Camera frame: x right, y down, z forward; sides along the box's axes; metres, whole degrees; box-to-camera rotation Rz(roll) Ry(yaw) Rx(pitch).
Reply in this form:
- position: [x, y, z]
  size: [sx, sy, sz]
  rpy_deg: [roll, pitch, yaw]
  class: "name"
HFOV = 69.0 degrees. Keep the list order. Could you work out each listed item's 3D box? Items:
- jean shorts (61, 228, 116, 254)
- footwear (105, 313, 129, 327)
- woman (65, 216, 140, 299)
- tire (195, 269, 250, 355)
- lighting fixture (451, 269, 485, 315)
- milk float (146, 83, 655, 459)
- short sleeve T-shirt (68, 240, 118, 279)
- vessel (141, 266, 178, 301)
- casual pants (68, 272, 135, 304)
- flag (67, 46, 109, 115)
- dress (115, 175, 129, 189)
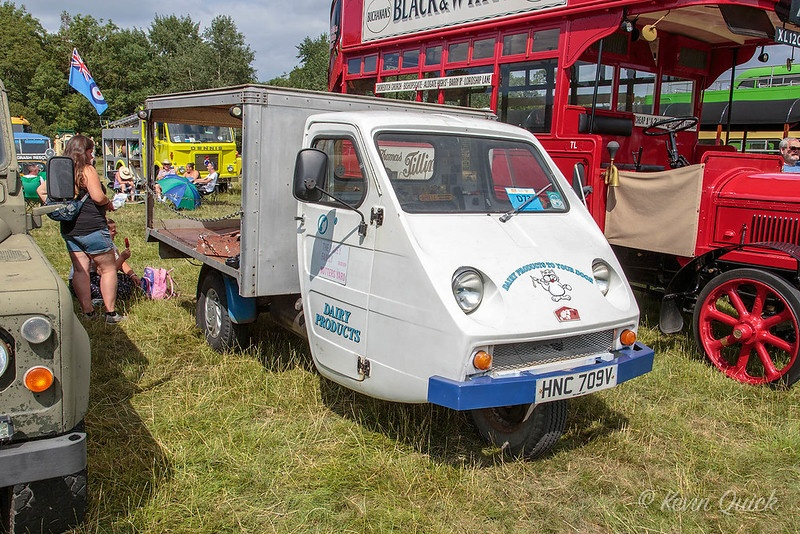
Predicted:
- position: [-4.037, -0.400, 7.579]
  size: [0.467, 0.363, 0.336]
  rpy_deg: [-4, 14, -17]
  class: "jean shorts"
- position: [-3.802, 0.713, 7.788]
  size: [0.111, 0.133, 0.290]
  rpy_deg: [7, 9, 36]
  class: "footwear"
- position: [-4.460, -0.168, 8.917]
  size: [0.877, 1.249, 0.851]
  rpy_deg: [7, 0, -1]
  class: "woman"
- position: [-2.090, 0.545, 6.936]
  size: [0.329, 1.007, 0.933]
  rpy_deg: [3, 0, -37]
  class: "tire"
- position: [0.556, 0.185, 4.708]
  size: [0.311, 0.348, 0.125]
  rpy_deg: [16, -23, -1]
  class: "lighting fixture"
- position: [-0.153, -0.182, 6.478]
  size: [2.812, 2.964, 5.209]
  rpy_deg: [-4, 10, -37]
  class: "milk float"
- position: [-4.065, -0.099, 7.706]
  size: [0.503, 0.538, 0.295]
  rpy_deg: [0, 1, -18]
  class: "short sleeve T-shirt"
- position: [-3.693, 0.248, 9.087]
  size: [0.448, 0.497, 0.503]
  rpy_deg: [-35, -9, 17]
  class: "vessel"
- position: [-4.344, 0.309, 8.691]
  size: [0.609, 0.370, 0.786]
  rpy_deg: [4, 4, 39]
  class: "casual pants"
- position: [-9.682, -5.803, 17.975]
  size: [1.107, 3.090, 0.162]
  rpy_deg: [11, -44, -48]
  class: "flag"
- position: [-8.883, -2.696, 18.653]
  size: [0.508, 0.406, 0.761]
  rpy_deg: [-2, 8, -35]
  class: "dress"
